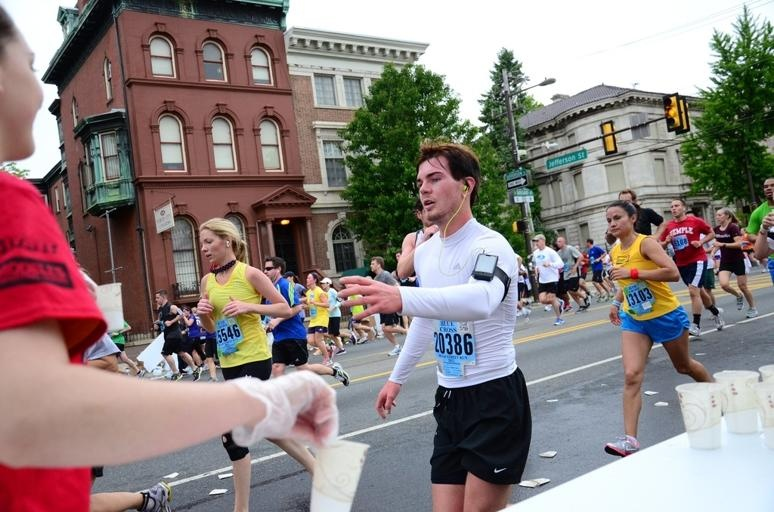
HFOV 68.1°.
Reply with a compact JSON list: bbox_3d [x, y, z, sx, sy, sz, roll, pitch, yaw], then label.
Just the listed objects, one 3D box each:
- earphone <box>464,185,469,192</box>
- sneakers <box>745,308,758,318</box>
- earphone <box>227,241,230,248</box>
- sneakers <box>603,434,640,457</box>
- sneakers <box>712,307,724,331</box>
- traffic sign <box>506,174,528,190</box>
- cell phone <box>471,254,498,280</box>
[{"bbox_3d":[0.450,-0.383,3.273,0.031,0.035,0.008,-7,-1,-15],"label":"earphone"},{"bbox_3d":[7.537,1.190,11.804,0.162,0.187,0.487,-7,-4,38],"label":"sneakers"},{"bbox_3d":[-1.529,-0.106,5.506,0.029,0.040,0.016,-2,-4,-24],"label":"earphone"},{"bbox_3d":[1.971,1.614,4.758,0.220,0.203,0.366,-7,0,28],"label":"sneakers"},{"bbox_3d":[6.405,1.240,11.073,0.140,0.194,0.429,-28,25,50],"label":"sneakers"},{"bbox_3d":[5.292,-3.027,23.349,0.103,0.418,0.756,1,-1,-40],"label":"traffic sign"},{"bbox_3d":[0.472,0.060,2.790,0.107,0.132,0.102,-7,0,25],"label":"cell phone"}]
